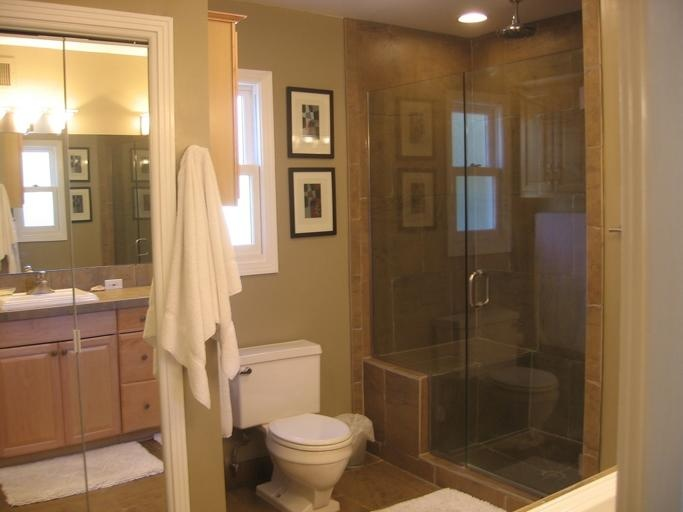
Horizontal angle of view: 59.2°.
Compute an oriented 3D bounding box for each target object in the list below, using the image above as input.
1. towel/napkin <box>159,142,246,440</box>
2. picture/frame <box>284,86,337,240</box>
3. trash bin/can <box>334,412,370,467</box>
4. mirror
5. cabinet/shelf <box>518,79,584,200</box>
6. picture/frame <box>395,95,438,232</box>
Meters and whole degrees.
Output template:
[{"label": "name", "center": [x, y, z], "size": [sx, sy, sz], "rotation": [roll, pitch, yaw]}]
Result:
[{"label": "towel/napkin", "center": [-0.573, 0.076, 2.364], "size": [0.156, 1.018, 0.317], "rotation": [3, 10, 38]}, {"label": "picture/frame", "center": [-0.182, -0.563, 3.609], "size": [0.364, 0.878, 0.041], "rotation": [-9, 9, -35]}, {"label": "trash bin/can", "center": [0.095, 1.093, 3.723], "size": [0.269, 0.270, 0.276], "rotation": [-4, 6, -9]}, {"label": "mirror", "center": [-0.942, -0.181, 2.181], "size": [0.508, 0.541, 0.020], "rotation": [0, 4, 8]}, {"label": "cabinet/shelf", "center": [1.051, -0.600, 3.008], "size": [0.311, 0.584, 0.128], "rotation": [1, 9, 30]}, {"label": "picture/frame", "center": [0.449, -0.552, 3.574], "size": [0.223, 0.756, 0.054], "rotation": [3, 10, 39]}]
